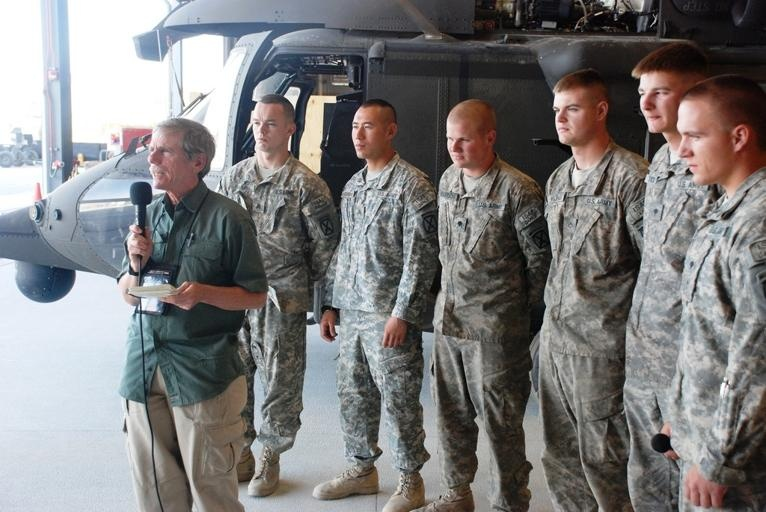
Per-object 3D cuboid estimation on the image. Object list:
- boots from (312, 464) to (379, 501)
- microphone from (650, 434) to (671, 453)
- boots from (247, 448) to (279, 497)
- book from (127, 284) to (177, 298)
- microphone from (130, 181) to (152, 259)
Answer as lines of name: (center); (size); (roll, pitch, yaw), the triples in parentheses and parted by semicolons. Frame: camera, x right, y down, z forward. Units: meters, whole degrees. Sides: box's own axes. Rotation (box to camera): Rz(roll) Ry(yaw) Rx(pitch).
boots: (-0.196, 1.302, 4.726); (0.440, 0.178, 0.154); (0, 4, -8)
microphone: (1.158, 0.770, 3.392); (0.073, 0.068, 0.062); (5, 11, 11)
boots: (-0.699, 1.251, 4.743); (0.125, 0.211, 0.339); (-1, 5, 11)
book: (-1.027, 0.153, 3.628); (0.204, 0.052, 0.146); (0, 10, -14)
microphone: (-1.143, -0.183, 3.832); (0.083, 0.341, 0.254); (0, 11, -16)
